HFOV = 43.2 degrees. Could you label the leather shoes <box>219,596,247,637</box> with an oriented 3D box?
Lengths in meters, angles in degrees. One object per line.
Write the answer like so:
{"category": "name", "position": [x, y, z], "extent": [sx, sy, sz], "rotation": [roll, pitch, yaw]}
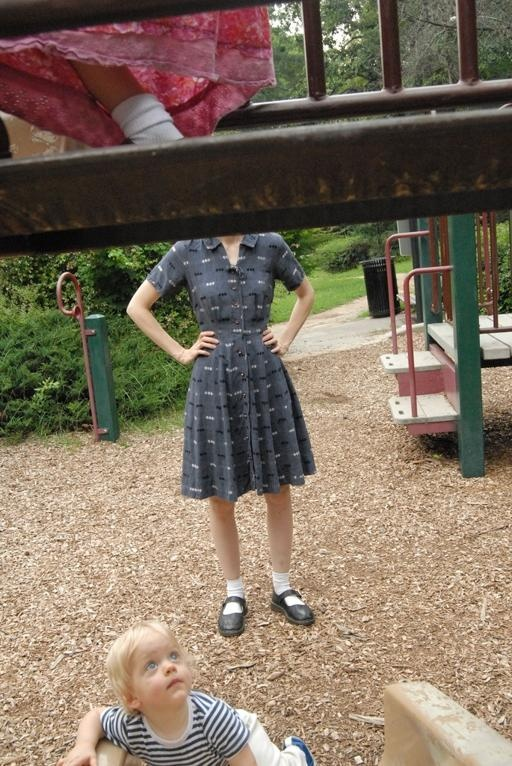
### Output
{"category": "leather shoes", "position": [-0.104, 0.969, 2.685], "extent": [0.068, 0.059, 0.181], "rotation": [-1, 19, -1]}

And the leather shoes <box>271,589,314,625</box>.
{"category": "leather shoes", "position": [0.147, 0.942, 2.702], "extent": [0.076, 0.082, 0.205], "rotation": [-7, -2, -26]}

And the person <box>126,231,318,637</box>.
{"category": "person", "position": [-0.048, 0.217, 2.645], "extent": [0.748, 1.600, 0.520], "rotation": [-9, 12, -9]}
